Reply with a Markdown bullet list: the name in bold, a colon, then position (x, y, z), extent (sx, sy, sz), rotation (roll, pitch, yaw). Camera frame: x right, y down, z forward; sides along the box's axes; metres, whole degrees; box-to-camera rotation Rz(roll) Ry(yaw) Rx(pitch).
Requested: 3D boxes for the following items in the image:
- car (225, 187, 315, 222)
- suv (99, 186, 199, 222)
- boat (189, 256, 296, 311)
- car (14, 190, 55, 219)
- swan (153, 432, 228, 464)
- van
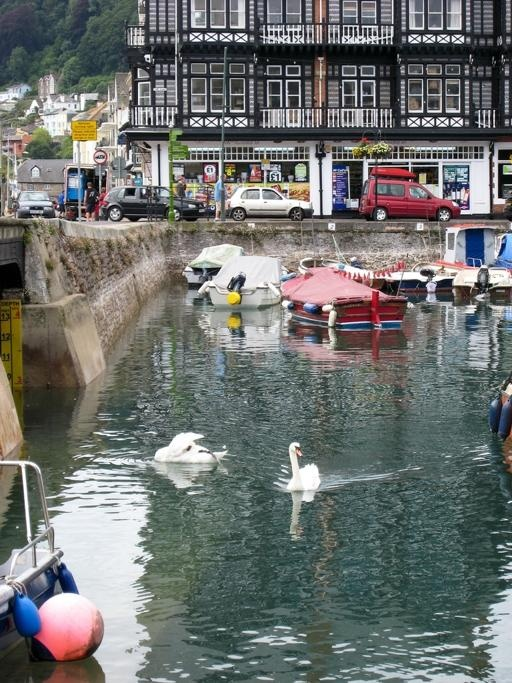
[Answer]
- **car**: position (0.369, -6.790, 48.458), extent (3.446, 1.892, 4.143), rotation (-7, 14, -32)
- **suv**: position (-5.301, -7.018, 46.851), extent (4.646, 1.977, 2.038), rotation (0, 4, 1)
- **boat**: position (-0.533, -2.213, 36.533), extent (2.062, 1.056, 3.261), rotation (-1, 12, 6)
- **car**: position (-10.863, -6.750, 46.693), extent (1.733, 1.188, 4.102), rotation (-2, 8, -15)
- **swan**: position (-0.879, 1.404, 12.563), extent (0.935, 0.477, 0.668), rotation (-1, 7, -7)
- **van**: position (7.752, -7.306, 48.354), extent (4.876, 2.666, 2.772), rotation (-2, 6, -3)
